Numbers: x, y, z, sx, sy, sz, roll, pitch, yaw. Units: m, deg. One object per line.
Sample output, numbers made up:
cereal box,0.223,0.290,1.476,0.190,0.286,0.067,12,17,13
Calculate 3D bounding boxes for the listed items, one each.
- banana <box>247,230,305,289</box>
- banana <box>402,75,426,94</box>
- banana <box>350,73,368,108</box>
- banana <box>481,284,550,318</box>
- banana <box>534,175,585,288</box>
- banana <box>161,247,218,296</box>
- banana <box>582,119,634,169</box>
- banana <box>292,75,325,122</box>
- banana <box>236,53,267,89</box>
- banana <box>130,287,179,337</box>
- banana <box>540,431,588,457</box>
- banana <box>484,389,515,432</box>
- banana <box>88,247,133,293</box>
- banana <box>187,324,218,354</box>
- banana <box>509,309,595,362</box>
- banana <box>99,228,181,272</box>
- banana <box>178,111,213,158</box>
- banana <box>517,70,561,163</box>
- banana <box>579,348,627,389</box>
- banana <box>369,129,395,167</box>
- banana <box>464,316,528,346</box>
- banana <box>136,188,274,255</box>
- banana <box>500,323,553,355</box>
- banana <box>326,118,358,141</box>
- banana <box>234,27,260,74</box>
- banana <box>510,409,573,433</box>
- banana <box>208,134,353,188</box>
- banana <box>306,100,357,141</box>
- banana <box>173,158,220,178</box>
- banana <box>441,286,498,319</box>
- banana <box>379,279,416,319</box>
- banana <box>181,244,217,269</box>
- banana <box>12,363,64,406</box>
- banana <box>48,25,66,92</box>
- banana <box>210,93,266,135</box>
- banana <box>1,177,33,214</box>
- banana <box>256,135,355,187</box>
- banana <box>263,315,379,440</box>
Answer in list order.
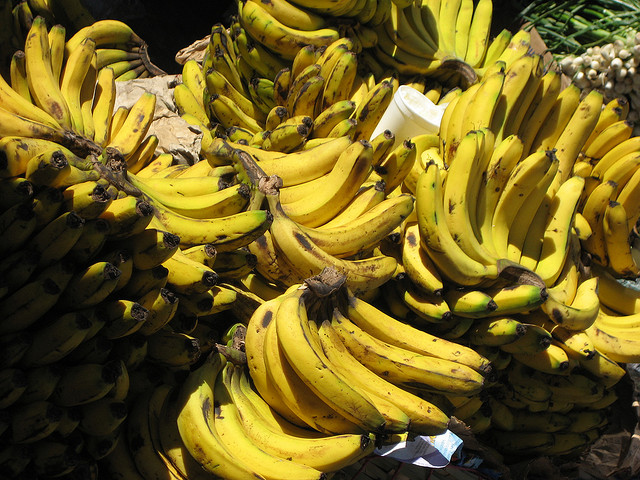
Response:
banana,-0.235,0.084,3.571,0.120,0.255,0.295,-30,36,-29
banana,0.706,-1.177,5.006,0.077,0.158,0.230,24,20,8
banana,0.269,-1.063,4.704,0.078,0.114,0.332,1,44,7
banana,1.023,0.318,3.552,0.234,0.066,0.089,-26,48,30
banana,1.363,-0.046,3.854,0.109,0.187,0.609,17,80,2
banana,-0.617,0.156,3.117,0.423,0.123,0.157,8,66,43
banana,1.773,-0.591,4.113,0.100,0.311,0.084,20,23,-42
banana,-0.065,-0.889,4.234,0.129,0.411,0.113,-36,75,-18
banana,-0.482,-1.123,4.757,0.122,0.408,0.111,-16,52,6
banana,-0.732,0.305,3.048,0.130,0.095,0.273,39,84,2
banana,1.511,1.264,4.160,0.339,0.136,0.097,-7,33,-31
banana,1.069,1.004,3.989,0.080,0.096,0.310,-32,90,-40
banana,-0.941,0.135,3.050,0.277,0.094,0.196,-13,47,62
banana,-0.569,0.473,3.304,0.099,0.081,0.132,-26,19,-16
banana,1.255,0.512,3.639,0.328,0.093,0.102,35,25,9
banana,-0.832,0.022,3.096,0.136,0.202,0.512,18,-6,-43
banana,-0.826,-0.683,4.390,0.127,0.104,0.406,-36,56,14
banana,1.314,-0.758,3.998,0.110,0.597,0.192,21,32,3
banana,1.613,0.733,3.850,0.317,0.089,0.112,34,34,-24
banana,0.350,-0.571,4.078,0.139,0.197,0.572,-8,9,-8
banana,0.961,0.525,3.678,0.129,0.182,0.497,5,-6,-19
banana,-0.621,-0.120,3.344,0.481,0.130,0.231,-27,45,-12
banana,1.119,0.562,3.686,0.151,0.406,0.138,-11,72,-10
banana,0.133,-0.695,4.181,0.069,0.093,0.257,-26,2,-26
banana,-0.478,-1.289,4.630,0.102,0.352,0.093,-5,35,23
banana,1.273,1.107,4.069,0.481,0.166,0.158,2,67,-7
banana,-0.216,-0.437,3.785,0.549,0.125,0.215,-17,53,8
banana,0.074,-0.741,4.175,0.114,0.346,0.101,12,40,-49
banana,-0.737,-0.425,3.975,0.246,0.071,0.093,-25,70,8
banana,0.792,0.326,3.657,0.124,0.159,0.392,15,-3,-31
banana,0.437,0.322,3.705,0.071,0.053,0.217,-25,76,-31
banana,-0.564,0.073,3.202,0.248,0.069,0.097,6,73,44
banana,-1.230,0.592,2.898,0.341,0.175,0.116,8,5,35
banana,-1.434,-0.984,3.643,0.090,0.436,0.125,-4,-3,-29
banana,-0.512,-0.828,4.638,0.530,0.211,0.150,16,-7,-36
banana,-1.266,-0.200,2.837,0.104,0.083,0.141,27,55,32
banana,-0.117,-0.430,3.864,0.624,0.248,0.186,-11,24,-5
banana,-0.015,0.665,3.148,0.208,0.613,0.141,-37,9,-9
